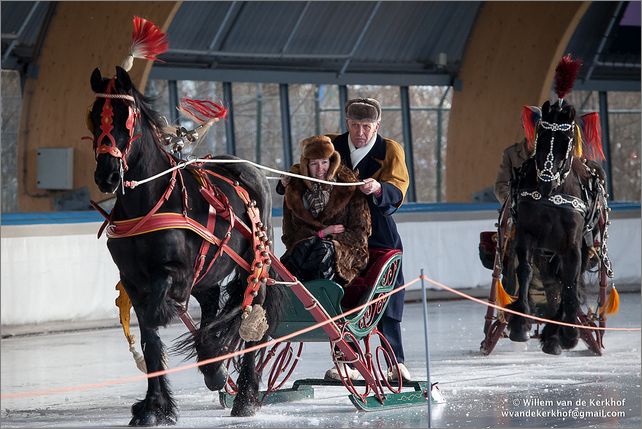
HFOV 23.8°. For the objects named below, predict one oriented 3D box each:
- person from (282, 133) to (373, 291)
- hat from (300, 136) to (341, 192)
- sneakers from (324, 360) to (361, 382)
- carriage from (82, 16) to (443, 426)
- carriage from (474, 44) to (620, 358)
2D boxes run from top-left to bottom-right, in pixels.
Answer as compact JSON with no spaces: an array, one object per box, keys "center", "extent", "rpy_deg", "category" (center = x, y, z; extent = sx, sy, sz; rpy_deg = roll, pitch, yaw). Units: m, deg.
[{"center":[-0.028,0.143,19.684],"extent":[1.243,2.235,1.181],"rpy_deg":[0,-1,29],"category":"person"},{"center":[-0.089,-0.665,19.693],"extent":[0.538,0.698,0.543],"rpy_deg":[-7,-10,-6],"category":"hat"},{"center":[0.323,2.058,20.037],"extent":[0.233,0.207,0.487],"rpy_deg":[-12,-18,41],"category":"sneakers"},{"center":[-0.991,0.156,21.384],"extent":[4.530,6.110,9.938],"rpy_deg":[0,-2,4],"category":"carriage"},{"center":[3.475,-0.235,21.738],"extent":[1.662,4.273,4.325],"rpy_deg":[6,2,12],"category":"carriage"}]
